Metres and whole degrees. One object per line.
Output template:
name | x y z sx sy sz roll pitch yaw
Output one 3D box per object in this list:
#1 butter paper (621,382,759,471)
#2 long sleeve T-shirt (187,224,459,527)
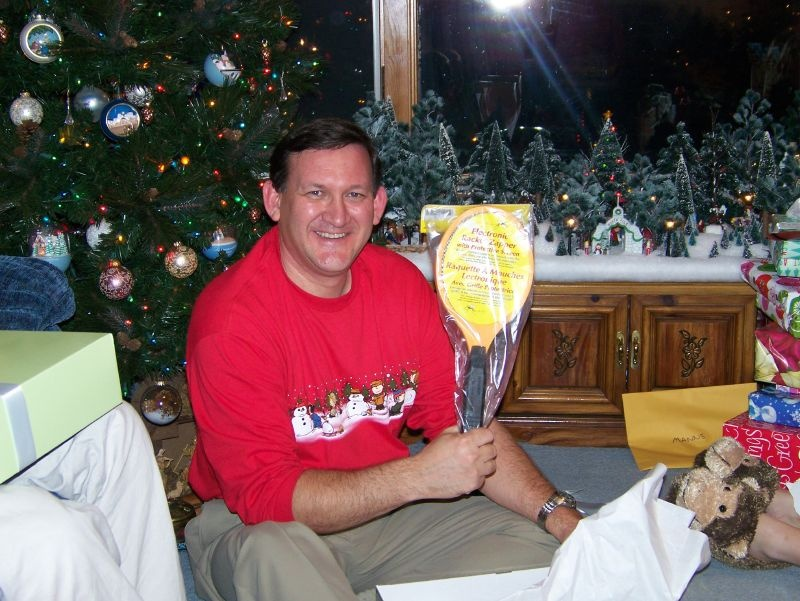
butter paper | 1.070 0.483 2.370 0.413 0.304 0.064 -5 5 -12
long sleeve T-shirt | -0.170 0.127 1.702 0.742 0.802 0.608 -9 19 -34
